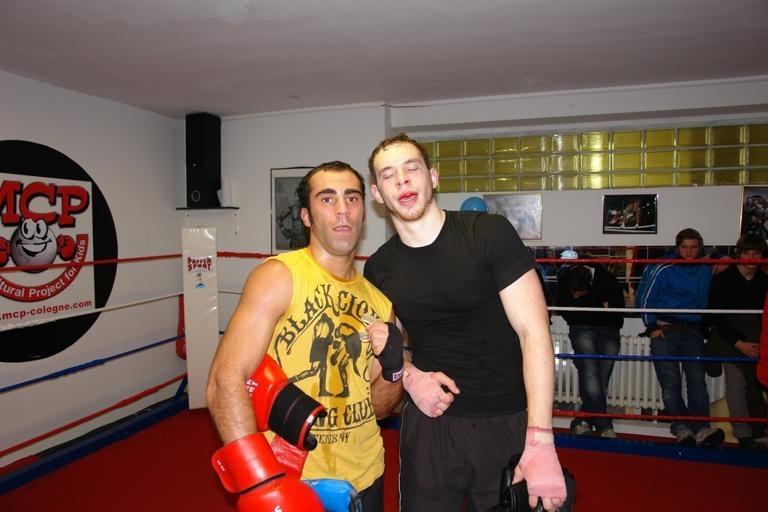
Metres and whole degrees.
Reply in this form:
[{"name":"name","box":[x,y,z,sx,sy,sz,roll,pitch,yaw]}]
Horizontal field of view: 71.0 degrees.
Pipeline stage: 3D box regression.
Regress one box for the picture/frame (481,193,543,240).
[{"name":"picture/frame","box":[1.301,-0.388,5.258,0.663,0.552,0.027,0,3,13]}]

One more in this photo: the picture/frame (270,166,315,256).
[{"name":"picture/frame","box":[-1.071,-0.506,6.348,0.752,0.997,0.016,3,6,40]}]

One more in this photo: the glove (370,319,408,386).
[{"name":"glove","box":[0.042,0.591,3.317,0.108,0.338,0.266,-17,-10,14]}]

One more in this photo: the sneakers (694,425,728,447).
[{"name":"sneakers","box":[3.031,1.678,5.026,0.230,0.178,0.181,-3,6,-16]}]

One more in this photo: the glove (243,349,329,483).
[{"name":"glove","box":[-0.501,0.907,3.046,0.650,0.416,0.262,38,2,19]}]

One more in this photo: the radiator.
[{"name":"radiator","box":[2.587,1.142,5.345,1.217,0.679,0.094,0,-4,5]}]

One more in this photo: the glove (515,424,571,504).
[{"name":"glove","box":[0.906,1.207,3.076,0.301,0.406,0.136,-1,-3,4]}]
